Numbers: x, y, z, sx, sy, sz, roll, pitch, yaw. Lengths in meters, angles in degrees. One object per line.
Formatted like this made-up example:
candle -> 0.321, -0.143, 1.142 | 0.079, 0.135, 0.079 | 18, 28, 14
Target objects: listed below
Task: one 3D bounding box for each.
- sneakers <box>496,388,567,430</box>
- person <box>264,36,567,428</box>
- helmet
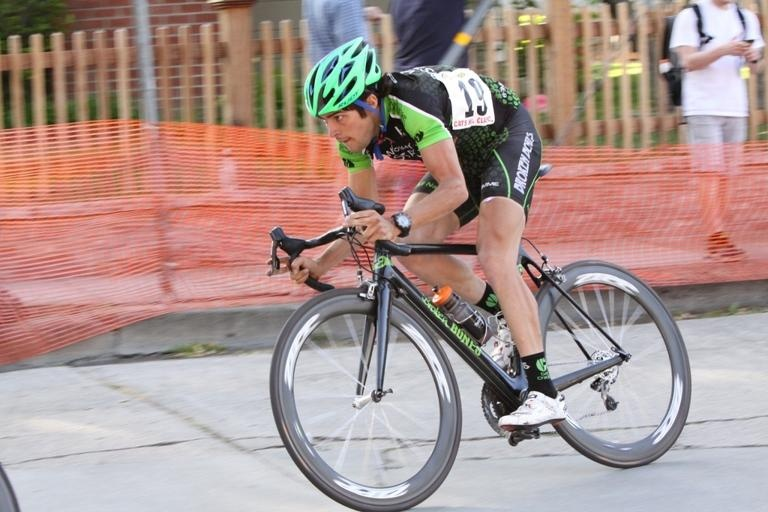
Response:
sneakers -> 0.784, 0.808, 5.086 | 0.506, 0.174, 0.155 | -3, -5, -41
person -> 0.278, -0.126, 5.175 | 1.260, 2.079, 0.752 | -4, 10, 0
helmet -> -0.211, -0.939, 4.905 | 0.350, 0.460, 0.181 | 31, -17, 34
